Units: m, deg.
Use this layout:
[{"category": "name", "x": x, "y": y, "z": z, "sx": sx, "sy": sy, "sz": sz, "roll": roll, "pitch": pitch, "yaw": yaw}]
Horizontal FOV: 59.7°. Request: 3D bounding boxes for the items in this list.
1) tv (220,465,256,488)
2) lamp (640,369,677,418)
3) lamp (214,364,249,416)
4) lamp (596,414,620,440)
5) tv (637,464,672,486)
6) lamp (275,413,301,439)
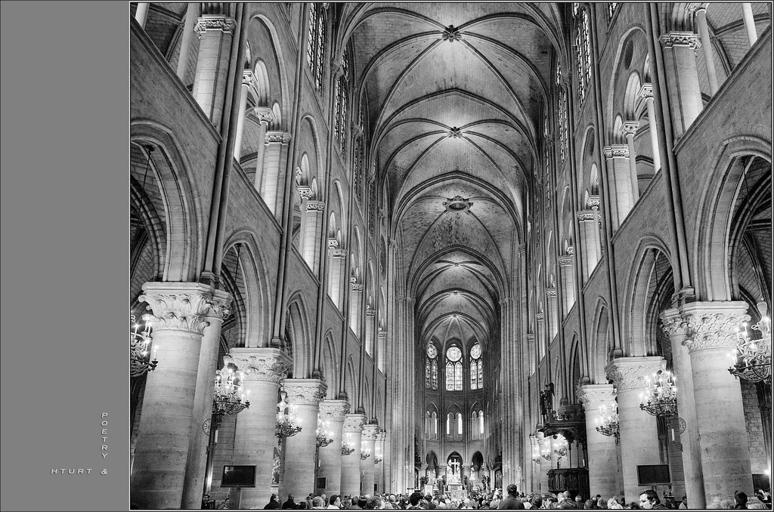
[{"category": "tv", "x": -3.909, "y": 5.830, "z": 17.856, "sx": 1.010, "sy": 0.655, "sz": 0.134, "roll": -1, "pitch": -28, "yaw": 5}, {"category": "lamp", "x": 7.737, "y": 3.792, "z": 19.282, "sx": 1.023, "sy": 1.361, "sz": 1.503, "roll": -9, "pitch": -27, "yaw": 18}, {"category": "lamp", "x": -4.366, "y": 3.563, "z": 18.866, "sx": 0.881, "sy": 1.492, "sz": 1.236, "roll": -2, "pitch": -25, "yaw": 3}, {"category": "lamp", "x": 7.447, "y": 5.717, "z": 22.632, "sx": 0.734, "sy": 0.572, "sz": 0.869, "roll": -3, "pitch": -6, "yaw": 13}, {"category": "tv", "x": 7.554, "y": 6.178, "z": 19.054, "sx": 0.964, "sy": 0.620, "sz": 0.124, "roll": -4, "pitch": -16, "yaw": 21}, {"category": "lamp", "x": -3.388, "y": 5.740, "z": 22.723, "sx": 0.811, "sy": 0.695, "sz": 0.816, "roll": -1, "pitch": -20, "yaw": 11}]
